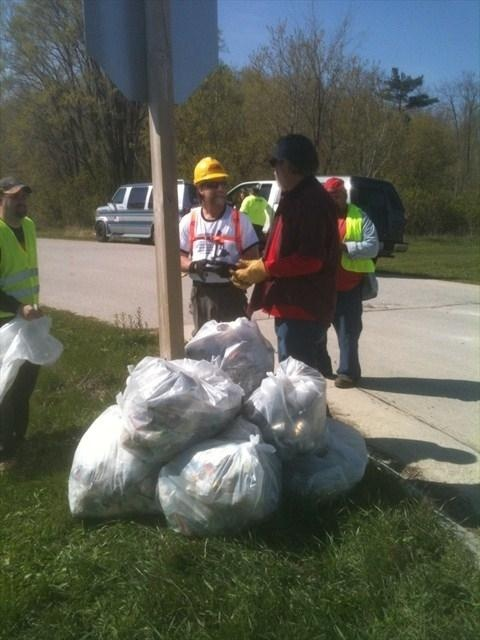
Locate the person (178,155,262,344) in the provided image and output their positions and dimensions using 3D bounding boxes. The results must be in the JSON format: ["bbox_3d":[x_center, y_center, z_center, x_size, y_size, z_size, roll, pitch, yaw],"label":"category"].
[{"bbox_3d":[-0.174,-0.197,3.636,0.428,1.695,0.469,5,39,7],"label":"person"}]

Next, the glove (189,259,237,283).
[{"bbox_3d":[-0.170,-0.306,3.327,0.160,0.109,0.139,6,7,-22],"label":"glove"}]

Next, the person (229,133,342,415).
[{"bbox_3d":[0.240,-0.310,2.722,0.484,1.148,0.368,2,7,13],"label":"person"}]

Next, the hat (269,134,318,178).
[{"bbox_3d":[0.265,-0.774,2.676,0.138,0.264,0.224,3,14,4],"label":"hat"}]

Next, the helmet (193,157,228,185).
[{"bbox_3d":[-0.189,-0.872,3.368,0.145,0.141,0.195,-24,16,-23],"label":"helmet"}]

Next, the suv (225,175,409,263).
[{"bbox_3d":[1.968,-2.392,11.490,2.790,1.759,2.061,13,17,37],"label":"suv"}]
